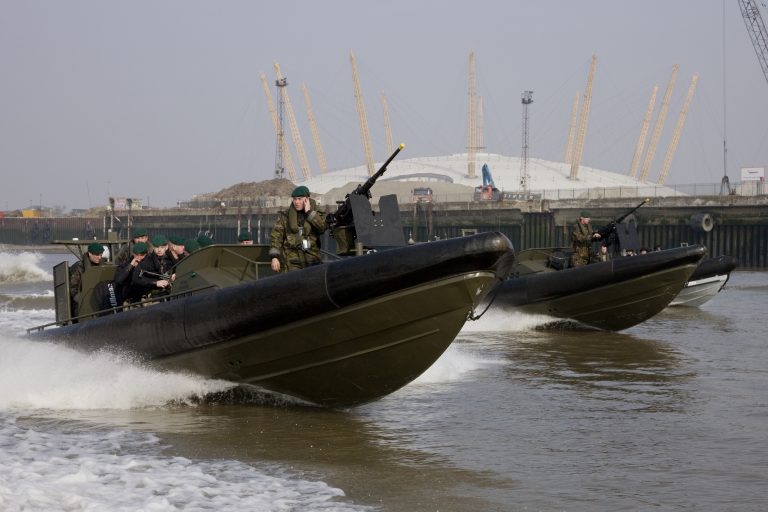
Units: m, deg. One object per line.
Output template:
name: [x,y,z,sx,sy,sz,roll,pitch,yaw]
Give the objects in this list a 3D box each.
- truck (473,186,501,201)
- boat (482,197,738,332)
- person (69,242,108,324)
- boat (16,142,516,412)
truck: [5.568,-3.343,73.831,1.834,0.757,2.292,2,0,14]
boat: [4.236,0.292,29.183,3.032,2.323,6.263,2,-6,-41]
person: [-5.223,0.459,24.120,0.590,1.295,0.594,7,-4,-22]
boat: [-1.628,0.498,23.395,8.575,3.488,3.934,0,-2,26]
